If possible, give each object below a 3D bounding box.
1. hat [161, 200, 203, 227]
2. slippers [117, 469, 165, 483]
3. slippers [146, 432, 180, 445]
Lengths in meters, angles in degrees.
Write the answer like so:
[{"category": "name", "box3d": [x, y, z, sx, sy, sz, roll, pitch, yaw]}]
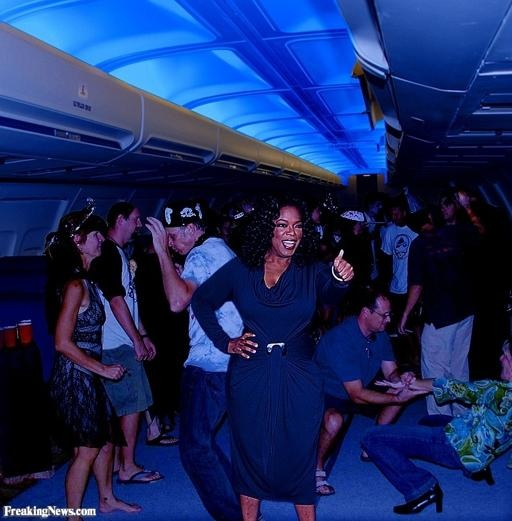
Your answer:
[{"category": "hat", "box3d": [-0.493, -0.316, 2.771, 0.214, 0.140, 0.164, 0, 1, 4]}, {"category": "slippers", "box3d": [-0.972, 1.811, 3.446, 0.255, 0.081, 0.138, 0, -11, -3]}, {"category": "slippers", "box3d": [-0.929, 1.794, 4.138, 0.232, 0.088, 0.135, 0, -4, 1]}]
